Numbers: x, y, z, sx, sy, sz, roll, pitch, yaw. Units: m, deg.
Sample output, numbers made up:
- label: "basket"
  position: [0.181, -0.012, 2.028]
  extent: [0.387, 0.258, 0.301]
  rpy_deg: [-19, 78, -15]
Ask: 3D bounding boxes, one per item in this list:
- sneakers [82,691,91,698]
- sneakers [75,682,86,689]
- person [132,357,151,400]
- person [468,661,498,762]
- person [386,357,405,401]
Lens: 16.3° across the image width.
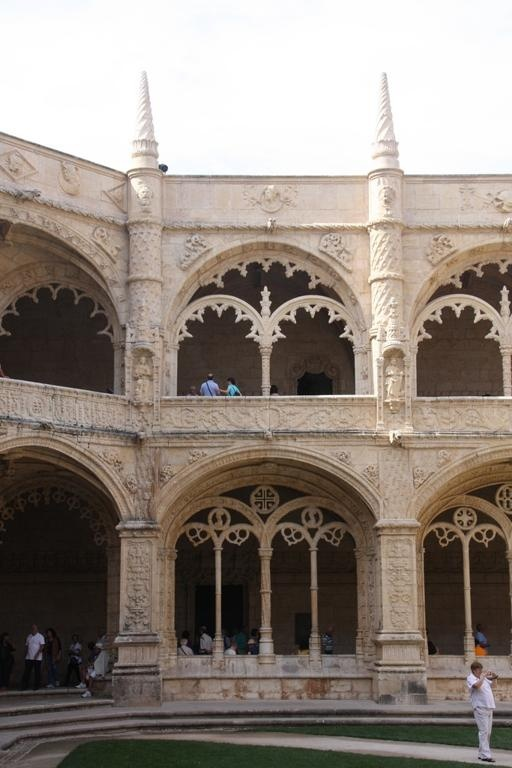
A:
- label: "sneakers"
  position: [-2.978, 5.452, 31.222]
  extent: [0.193, 0.086, 0.067]
  rpy_deg: [4, -10, 3]
- label: "sneakers"
  position: [-3.155, 5.449, 32.088]
  extent: [0.095, 0.124, 0.278]
  rpy_deg: [6, -8, -28]
- label: "person"
  position: [-2.027, -0.089, 31.705]
  extent: [0.306, 0.896, 0.203]
  rpy_deg: [0, -14, -5]
- label: "person"
  position: [3.003, 4.435, 23.973]
  extent: [0.368, 1.395, 1.215]
  rpy_deg: [-3, -15, 6]
- label: "person"
  position: [2.423, -0.058, 31.783]
  extent: [0.361, 0.871, 0.267]
  rpy_deg: [-1, -14, 0]
